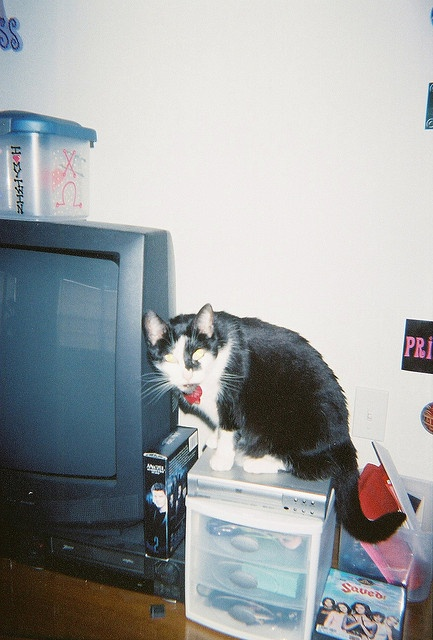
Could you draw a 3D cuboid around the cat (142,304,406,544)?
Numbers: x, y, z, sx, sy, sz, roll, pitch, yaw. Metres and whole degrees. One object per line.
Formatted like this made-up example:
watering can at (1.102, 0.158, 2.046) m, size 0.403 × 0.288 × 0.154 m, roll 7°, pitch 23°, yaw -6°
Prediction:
cat at (0.123, 0.215, 1.213) m, size 0.545 × 0.430 × 0.326 m, roll 7°, pitch 4°, yaw 9°
